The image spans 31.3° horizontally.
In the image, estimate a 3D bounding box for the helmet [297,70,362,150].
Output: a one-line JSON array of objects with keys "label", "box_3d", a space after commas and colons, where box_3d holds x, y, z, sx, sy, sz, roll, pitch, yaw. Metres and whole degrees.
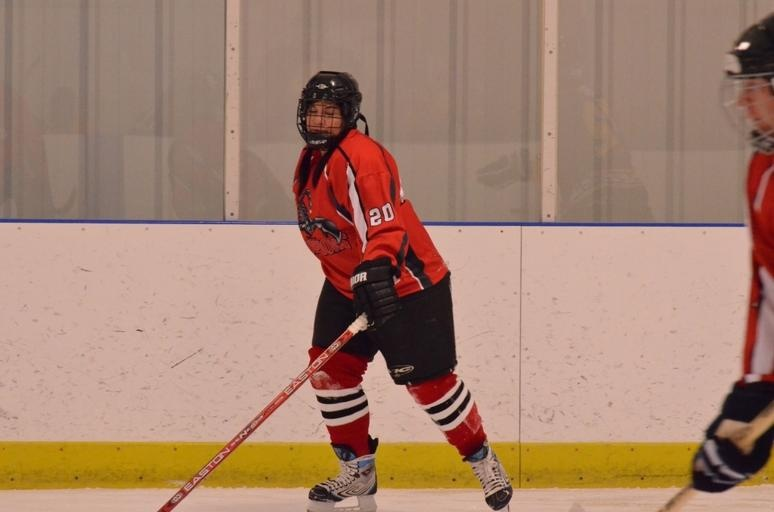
[{"label": "helmet", "box_3d": [-0.275, -0.702, 6.391, 0.273, 0.345, 0.345, 5, 14, 9]}]
